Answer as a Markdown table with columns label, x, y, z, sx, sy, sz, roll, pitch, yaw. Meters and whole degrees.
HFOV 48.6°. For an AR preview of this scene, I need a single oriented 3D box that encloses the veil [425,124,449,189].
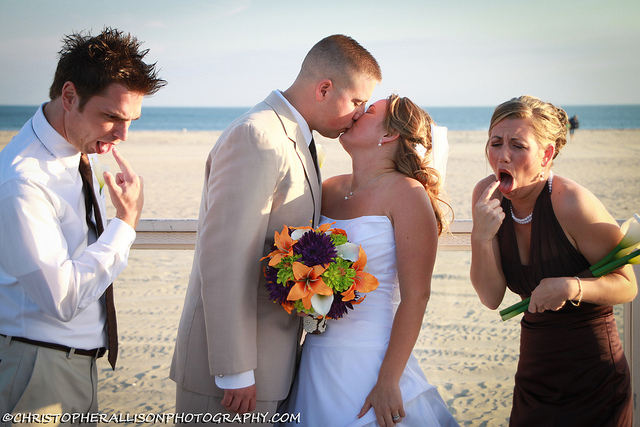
| label | x | y | z | sx | sy | sz | roll | pitch | yaw |
| --- | --- | --- | --- | --- | --- | --- | --- | --- | --- |
| veil | 1.037 | -0.502 | 6.262 | 0.167 | 0.548 | 0.378 | 7 | 15 | 12 |

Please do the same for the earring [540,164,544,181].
| label | x | y | z | sx | sy | sz | roll | pitch | yaw |
| --- | --- | --- | --- | --- | --- | --- | --- | --- | --- |
| earring | 1.905 | -0.342 | 6.082 | 0.023 | 0.142 | 0.057 | 9 | 16 | 19 |

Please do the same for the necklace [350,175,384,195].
| label | x | y | z | sx | sy | sz | roll | pitch | yaw |
| --- | --- | --- | --- | --- | --- | --- | --- | --- | --- |
| necklace | 0.417 | -0.236 | 6.077 | 0.345 | 0.100 | 0.019 | -29 | -17 | 18 |

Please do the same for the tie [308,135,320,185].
| label | x | y | z | sx | sy | sz | roll | pitch | yaw |
| --- | --- | --- | --- | --- | --- | --- | --- | --- | --- |
| tie | -0.071 | -0.429 | 5.912 | 0.062 | 0.390 | 0.104 | -7 | -13 | -10 |

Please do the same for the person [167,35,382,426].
| label | x | y | z | sx | sy | sz | roll | pitch | yaw |
| --- | --- | --- | --- | --- | --- | --- | --- | --- | --- |
| person | -0.465 | 0.120 | 5.797 | 0.847 | 3.121 | 1.520 | 14 | 18 | 33 |

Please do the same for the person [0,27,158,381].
| label | x | y | z | sx | sy | sz | roll | pitch | yaw |
| --- | --- | --- | --- | --- | --- | --- | --- | --- | --- |
| person | -1.987 | -0.047 | 5.643 | 0.878 | 2.798 | 1.214 | 12 | 17 | 29 |

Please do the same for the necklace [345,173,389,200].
| label | x | y | z | sx | sy | sz | roll | pitch | yaw |
| --- | --- | --- | --- | --- | --- | --- | --- | --- | --- |
| necklace | 0.420 | -0.222 | 6.073 | 0.365 | 0.107 | 0.020 | -31 | 34 | 0 |
